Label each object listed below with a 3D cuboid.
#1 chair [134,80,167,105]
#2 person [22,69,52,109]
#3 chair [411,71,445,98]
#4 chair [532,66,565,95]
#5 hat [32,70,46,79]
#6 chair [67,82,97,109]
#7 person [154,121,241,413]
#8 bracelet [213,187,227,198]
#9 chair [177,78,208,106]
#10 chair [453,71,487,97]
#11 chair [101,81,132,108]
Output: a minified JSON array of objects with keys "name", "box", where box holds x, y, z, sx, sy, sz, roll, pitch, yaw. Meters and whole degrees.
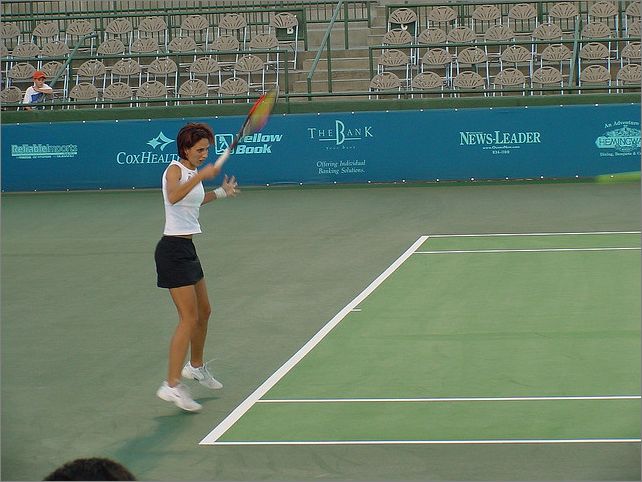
[{"name":"chair","box":[-4.229,-3.722,19.829,0.739,0.559,1.470,-3,8,-11]},{"name":"person","box":[-7.022,-3.738,19.664,0.652,1.007,1.520,-5,9,-18]},{"name":"chair","box":[2.609,-3.845,19.565,0.809,0.693,2.453,0,8,7]},{"name":"chair","box":[5.482,-3.936,19.315,0.750,0.661,2.562,1,8,16]},{"name":"hat","box":[-6.944,-4.088,19.574,0.301,0.162,0.381,-5,4,-34]},{"name":"chair","box":[-6.148,-3.740,20.501,0.679,0.708,2.631,-4,9,-17]},{"name":"person","box":[-1.142,0.227,6.954,0.724,2.483,0.711,-3,10,-7]},{"name":"bracelet","box":[-0.884,-0.420,6.942,0.122,0.074,0.122,-2,3,-6]},{"name":"chair","box":[-3.214,-3.734,19.902,0.694,0.629,2.279,-3,8,-9]},{"name":"chair","box":[3.571,-3.855,19.322,0.703,0.573,2.396,0,8,9]},{"name":"chair","box":[-5.204,-3.726,20.254,0.693,0.577,2.154,-4,8,-14]}]
